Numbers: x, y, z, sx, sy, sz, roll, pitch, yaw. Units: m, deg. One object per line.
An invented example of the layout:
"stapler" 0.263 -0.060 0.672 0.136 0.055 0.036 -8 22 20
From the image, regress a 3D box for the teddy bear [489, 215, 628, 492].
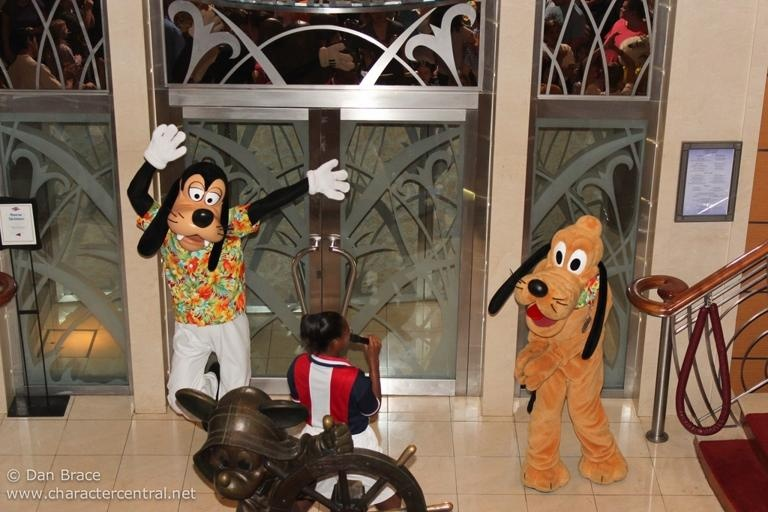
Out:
"teddy bear" 1.260 0.691 4.845 0.878 1.944 0.416 -3 8 -15

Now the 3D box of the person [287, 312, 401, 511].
"person" -0.257 0.999 4.485 0.623 1.339 0.495 -7 10 -37

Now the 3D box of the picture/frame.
"picture/frame" 2.419 -0.591 5.210 0.613 0.827 0.092 0 16 1
